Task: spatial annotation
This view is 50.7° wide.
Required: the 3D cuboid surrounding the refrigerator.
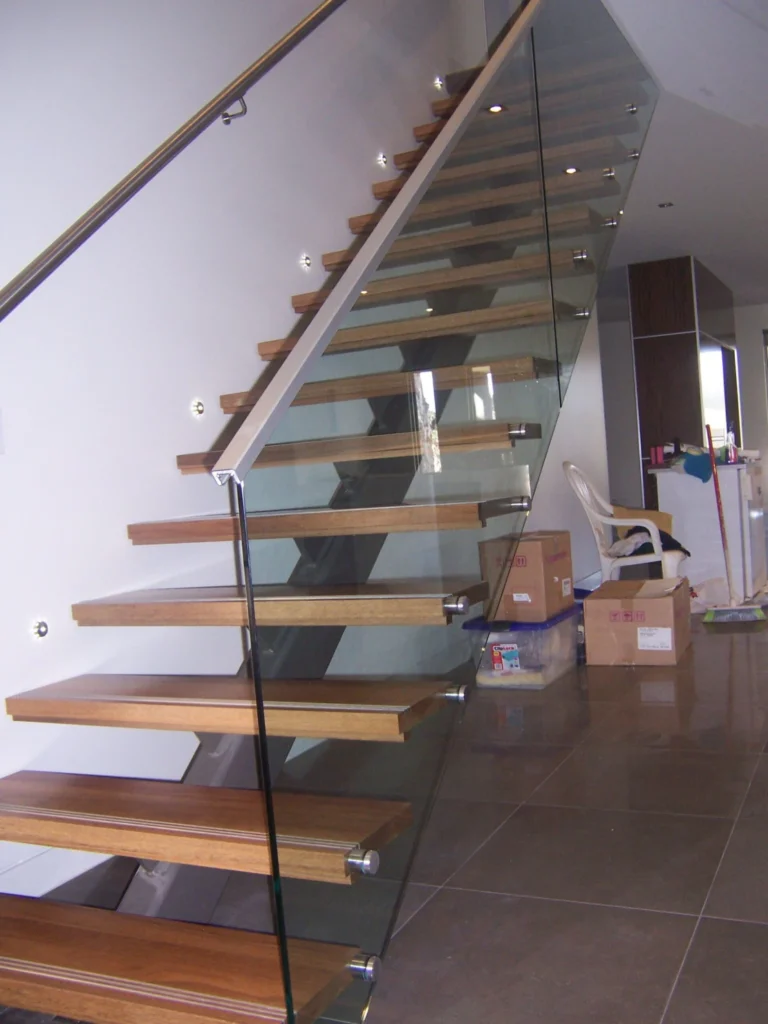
[{"bbox_3d":[2.513,0.299,6.407,0.894,1.610,1.235,-4,6,21],"label":"refrigerator"}]
